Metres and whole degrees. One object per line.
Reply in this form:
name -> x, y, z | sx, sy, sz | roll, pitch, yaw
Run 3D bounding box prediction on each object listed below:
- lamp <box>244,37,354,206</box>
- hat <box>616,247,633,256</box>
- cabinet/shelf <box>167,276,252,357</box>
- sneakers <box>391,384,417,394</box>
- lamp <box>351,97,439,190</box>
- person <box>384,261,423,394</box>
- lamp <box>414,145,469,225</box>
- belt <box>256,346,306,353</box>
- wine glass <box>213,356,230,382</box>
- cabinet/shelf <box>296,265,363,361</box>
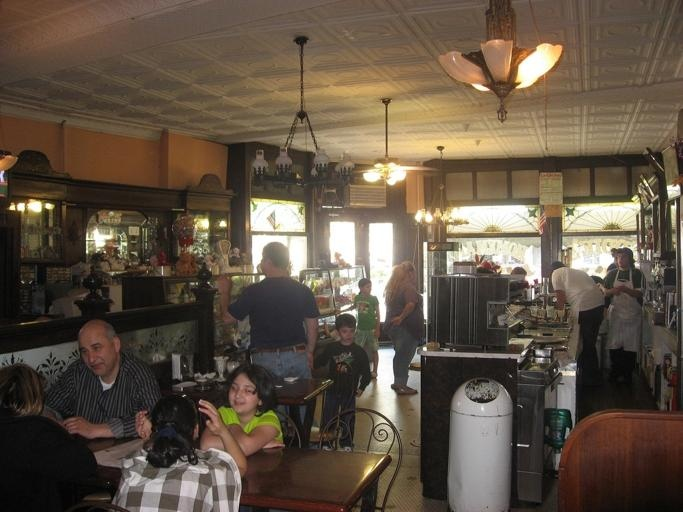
lamp -> -0.539, -1.839, 7.030 | 1.096, 1.571, 1.152 | 3, 15, 0
hat -> 4.364, -0.074, 8.517 | 0.186, 0.129, 0.243 | 5, 4, 26
cabinet/shelf -> -1.316, 0.643, 5.617 | 0.316, 0.807, 0.857 | -5, -4, 33
sneakers -> 0.872, 1.855, 7.690 | 0.363, 0.151, 0.122 | -2, -2, 1
lamp -> 0.769, -1.605, 8.232 | 1.122, 1.099, 1.105 | -1, 1, -28
person -> 0.874, 0.994, 7.752 | 0.515, 1.811, 0.531 | 1, 0, 4
lamp -> 2.165, -1.519, 12.083 | 1.065, 1.761, 1.138 | 0, 0, 38
belt -> -0.525, 0.795, 4.758 | 0.424, 0.063, 0.089 | 1, 0, -9
wine glass -> -0.986, 0.934, 4.548 | 0.148, 0.184, 0.143 | -1, 1, -24
cabinet/shelf -> -0.015, 0.825, 8.480 | 1.056, 1.024, 0.350 | -15, -18, 23
